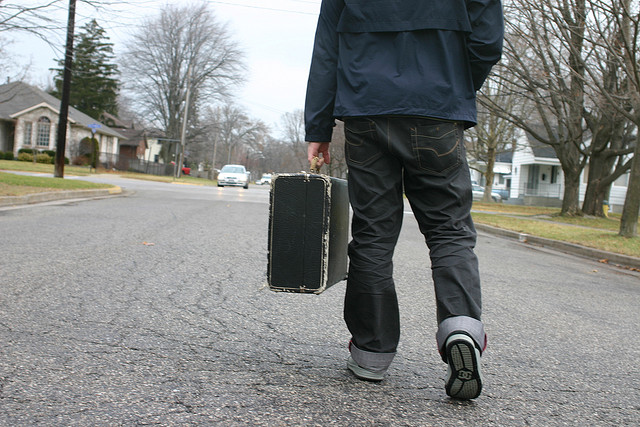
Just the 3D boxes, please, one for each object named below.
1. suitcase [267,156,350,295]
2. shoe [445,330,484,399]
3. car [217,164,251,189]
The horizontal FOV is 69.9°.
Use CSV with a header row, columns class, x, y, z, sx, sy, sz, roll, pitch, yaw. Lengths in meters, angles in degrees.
class,x,y,z,sx,sy,sz,roll,pitch,yaw
suitcase,-0.038,0.061,2.767,0.570,0.813,0.350,3,5,-16
shoe,0.767,0.795,2.403,0.194,0.415,0.213,-3,23,20
car,-6.153,-2.688,32.521,2.009,1.567,2.688,3,5,-14
